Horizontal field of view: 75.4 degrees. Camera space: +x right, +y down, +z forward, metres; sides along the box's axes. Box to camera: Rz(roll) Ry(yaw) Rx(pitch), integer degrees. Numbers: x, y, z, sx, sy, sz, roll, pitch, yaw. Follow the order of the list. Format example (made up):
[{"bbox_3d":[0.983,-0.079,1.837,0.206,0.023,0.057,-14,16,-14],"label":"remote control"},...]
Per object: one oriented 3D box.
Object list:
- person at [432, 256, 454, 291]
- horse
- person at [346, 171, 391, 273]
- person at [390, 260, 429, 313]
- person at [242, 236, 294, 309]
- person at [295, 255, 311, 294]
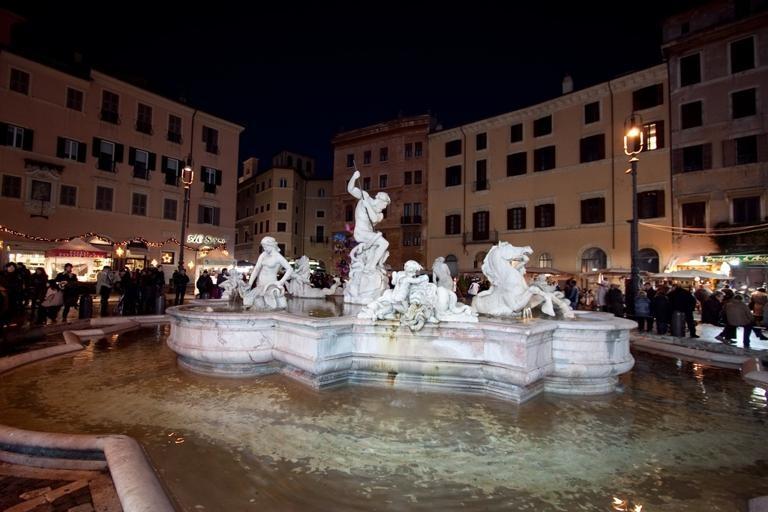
[{"bbox_3d":[1.591,0.435,13.645,0.444,0.856,0.981,-2,-3,10],"label":"person"},{"bbox_3d":[2.852,0.474,10.371,2.105,1.468,1.301,0,2,30],"label":"horse"},{"bbox_3d":[-0.448,-1.064,13.920,1.080,2.874,1.227,-1,-3,-5],"label":"person"},{"bbox_3d":[0.471,0.596,9.498,0.653,1.009,0.412,-1,-3,2],"label":"person"},{"bbox_3d":[-2.642,0.358,11.088,1.032,1.621,0.991,0,-3,-17],"label":"person"},{"bbox_3d":[-2.551,0.616,15.509,0.479,1.269,0.795,-1,-3,-11],"label":"person"}]
